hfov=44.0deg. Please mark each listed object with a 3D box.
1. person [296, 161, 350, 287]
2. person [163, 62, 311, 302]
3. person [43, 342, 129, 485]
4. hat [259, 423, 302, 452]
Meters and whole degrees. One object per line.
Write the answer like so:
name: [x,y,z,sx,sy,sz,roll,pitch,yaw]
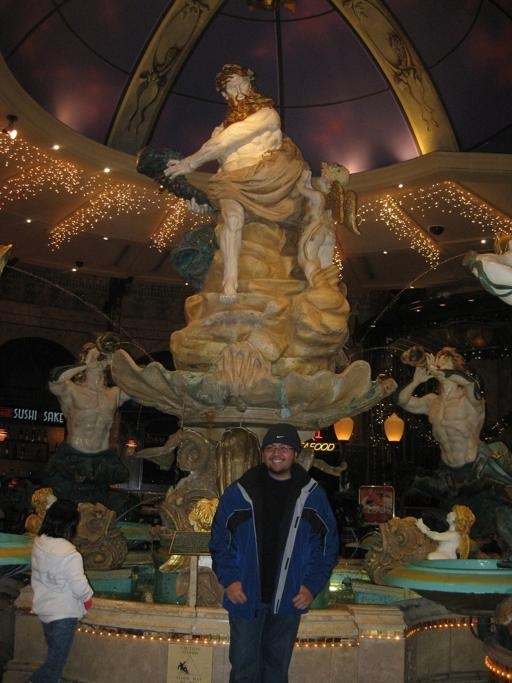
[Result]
person: [0.472,-0.812,4.478,0.359,0.967,0.305,1,-17,1]
person: [-0.099,-1.181,4.506,0.947,2.010,0.415,3,-17,-8]
person: [-1.549,0.702,5.992,0.714,1.265,1.119,4,-16,-10]
hat: [0.090,0.312,2.131,0.109,0.073,0.098,3,-25,8]
